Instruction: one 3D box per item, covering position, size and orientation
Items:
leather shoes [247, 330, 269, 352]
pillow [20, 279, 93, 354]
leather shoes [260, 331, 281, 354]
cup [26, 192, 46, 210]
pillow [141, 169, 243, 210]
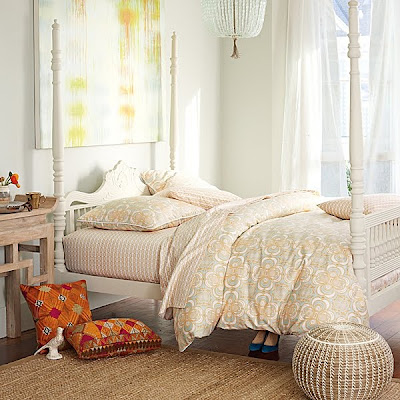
[{"bbox_3d":[0.322,0.779,2.216,0.053,0.068,0.170,-1,-3,25],"label":"leather shoes"},{"bbox_3d":[-0.805,0.628,2.212,0.122,0.342,0.378,-34,-18,36],"label":"pillow"},{"bbox_3d":[0.370,0.784,2.178,0.054,0.102,0.135,-6,-14,30],"label":"leather shoes"},{"bbox_3d":[-0.952,0.017,2.382,0.117,0.104,0.077,0,0,-3],"label":"cup"},{"bbox_3d":[-0.129,-0.090,3.021,0.500,0.153,0.401,12,4,30],"label":"pillow"}]
